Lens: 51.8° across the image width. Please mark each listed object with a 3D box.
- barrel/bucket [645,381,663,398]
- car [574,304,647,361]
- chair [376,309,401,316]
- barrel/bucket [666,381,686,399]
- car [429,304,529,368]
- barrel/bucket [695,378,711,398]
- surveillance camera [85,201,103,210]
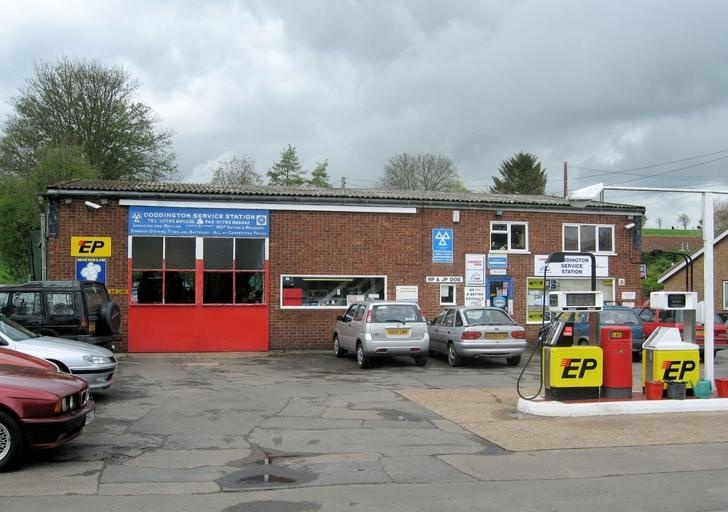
[{"bbox_3d":[6.266,2.862,16.208,0.366,0.426,0.360,2,0,0],"label":"barrel/bucket"},{"bbox_3d":[8.215,3.095,25.156,1.778,1.796,3.718,-2,-23,3],"label":"car"},{"bbox_3d":[0.638,1.572,21.285,0.503,0.172,0.121,-1,5,-13],"label":"chair"},{"bbox_3d":[6.783,2.853,16.166,0.382,0.363,0.359,1,0,0],"label":"barrel/bucket"},{"bbox_3d":[3.220,2.357,22.323,1.792,1.730,2.744,-3,6,-39],"label":"car"},{"bbox_3d":[7.481,2.887,16.390,0.404,0.395,0.315,0,0,4],"label":"barrel/bucket"},{"bbox_3d":[-8.926,-1.651,24.526,0.431,0.209,0.253,10,9,14],"label":"surveillance camera"}]
